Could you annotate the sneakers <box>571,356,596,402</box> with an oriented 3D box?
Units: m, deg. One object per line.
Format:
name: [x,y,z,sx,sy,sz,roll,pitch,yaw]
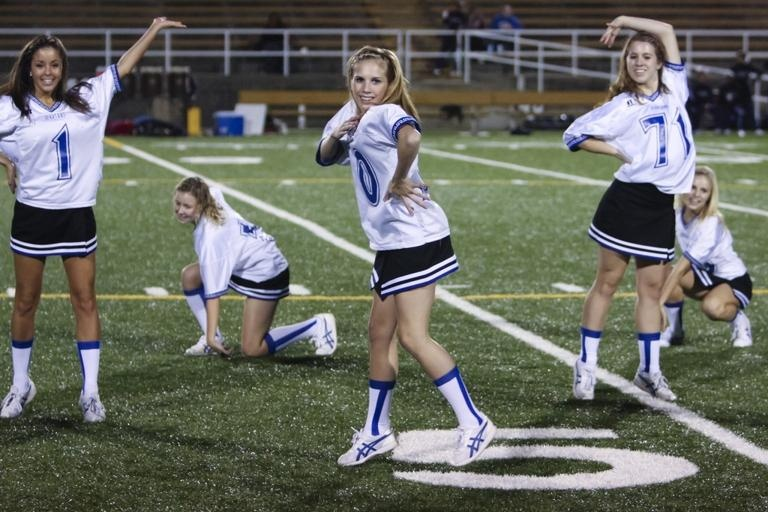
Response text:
sneakers: [1.163,0.705,6.411,0.101,0.260,0.122,-1,-3,4]

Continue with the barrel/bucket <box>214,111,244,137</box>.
barrel/bucket: [-2.758,-2.358,19.733,0.623,0.365,0.594,2,21,-1]

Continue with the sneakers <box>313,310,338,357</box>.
sneakers: [-0.379,0.487,7.061,0.140,0.296,0.115,-10,1,-29]

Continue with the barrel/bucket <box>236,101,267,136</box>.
barrel/bucket: [-2.582,-2.699,21.592,0.613,0.786,0.844,-2,10,-11]

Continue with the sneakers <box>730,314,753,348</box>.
sneakers: [2.329,0.500,7.161,0.098,0.123,0.279,-27,28,41]

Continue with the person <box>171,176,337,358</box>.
person: [-0.863,-0.112,7.238,1.199,1.460,0.996,-3,24,-6]

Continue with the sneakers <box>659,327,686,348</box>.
sneakers: [1.877,0.528,7.174,0.251,0.102,0.094,-4,0,45]

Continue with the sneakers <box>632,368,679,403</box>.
sneakers: [1.570,0.717,6.463,0.324,0.134,0.108,22,32,27]

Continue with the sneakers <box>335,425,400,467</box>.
sneakers: [-0.084,1.005,5.863,0.361,0.155,0.134,-21,-1,-20]

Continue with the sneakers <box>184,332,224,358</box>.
sneakers: [-1.154,0.578,7.026,0.300,0.127,0.106,1,1,-16]

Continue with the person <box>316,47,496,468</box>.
person: [0.104,0.012,5.765,1.024,2.157,0.463,4,6,5]
